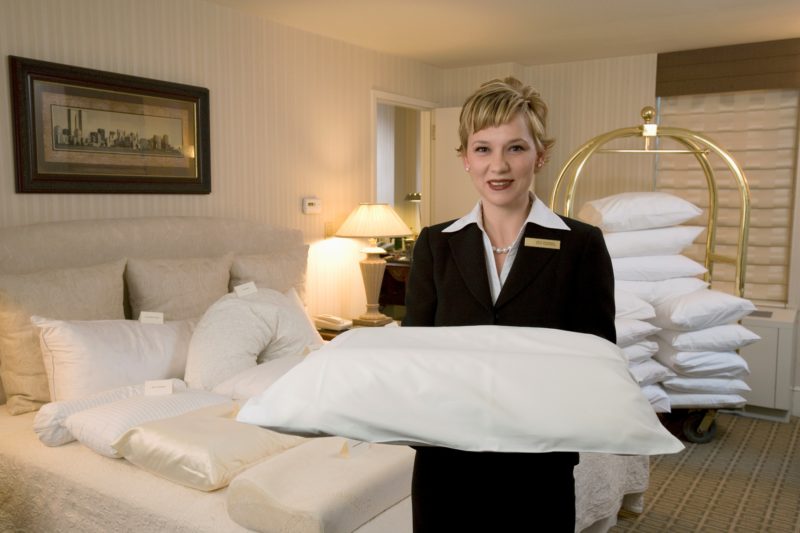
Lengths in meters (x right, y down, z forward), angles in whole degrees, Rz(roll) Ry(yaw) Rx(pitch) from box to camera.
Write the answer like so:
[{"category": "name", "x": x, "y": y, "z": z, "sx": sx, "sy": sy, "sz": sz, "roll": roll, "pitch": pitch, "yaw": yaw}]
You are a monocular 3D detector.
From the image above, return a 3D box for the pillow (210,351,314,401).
[{"category": "pillow", "x": -0.754, "y": 0.590, "z": 2.932, "sx": 0.274, "sy": 0.081, "sz": 0.434, "roll": -7, "pitch": 13, "yaw": 26}]

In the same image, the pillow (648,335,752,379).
[{"category": "pillow", "x": 1.992, "y": 0.599, "z": 3.628, "sx": 0.353, "sy": 0.107, "sz": 0.380, "roll": -5, "pitch": 22, "yaw": 27}]

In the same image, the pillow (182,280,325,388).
[{"category": "pillow", "x": -0.994, "y": 0.350, "z": 3.262, "sx": 0.634, "sy": 0.261, "sz": 0.783, "roll": 7, "pitch": 21, "yaw": 19}]

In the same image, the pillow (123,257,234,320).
[{"category": "pillow", "x": -1.319, "y": 0.146, "z": 3.286, "sx": 0.329, "sy": 0.240, "sz": 0.116, "roll": -8, "pitch": -23, "yaw": -31}]

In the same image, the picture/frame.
[{"category": "picture/frame", "x": -1.762, "y": -0.842, "z": 3.332, "sx": 0.036, "sy": 0.636, "sz": 1.037, "roll": 2, "pitch": 2, "yaw": 43}]

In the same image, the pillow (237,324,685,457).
[{"category": "pillow", "x": 0.131, "y": 0.293, "z": 1.283, "sx": 0.712, "sy": 0.179, "sz": 0.446, "roll": 1, "pitch": 1, "yaw": 7}]

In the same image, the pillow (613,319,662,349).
[{"category": "pillow", "x": 1.384, "y": 0.401, "z": 3.296, "sx": 0.236, "sy": 0.073, "sz": 0.240, "roll": -7, "pitch": 10, "yaw": 37}]

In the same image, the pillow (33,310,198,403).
[{"category": "pillow", "x": -1.507, "y": 0.546, "z": 3.078, "sx": 0.305, "sy": 0.561, "sz": 0.976, "roll": -1, "pitch": -3, "yaw": 22}]

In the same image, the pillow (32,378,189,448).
[{"category": "pillow", "x": -1.457, "y": 0.669, "z": 2.656, "sx": 0.236, "sy": 0.124, "sz": 0.414, "roll": 9, "pitch": 10, "yaw": 42}]

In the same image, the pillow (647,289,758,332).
[{"category": "pillow", "x": 1.880, "y": 0.281, "z": 3.525, "sx": 0.323, "sy": 0.123, "sz": 0.365, "roll": -8, "pitch": -8, "yaw": -15}]
